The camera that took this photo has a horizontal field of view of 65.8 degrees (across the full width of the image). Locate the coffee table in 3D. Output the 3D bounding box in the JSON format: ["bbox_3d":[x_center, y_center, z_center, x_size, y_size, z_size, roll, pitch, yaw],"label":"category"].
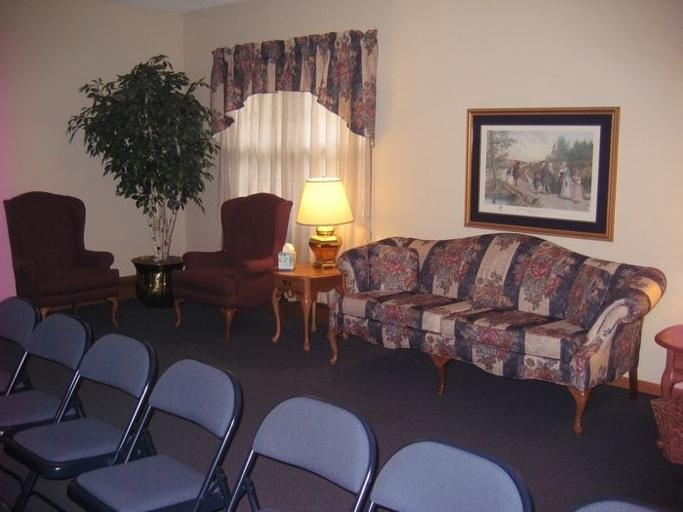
[{"bbox_3d":[-0.359,0.519,5.504,0.678,0.804,0.743,3,8,13],"label":"coffee table"}]

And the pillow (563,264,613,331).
[{"bbox_3d":[1.952,0.287,4.144,0.437,0.445,0.312,-6,12,-34],"label":"pillow"}]

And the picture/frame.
[{"bbox_3d":[1.829,-0.733,4.669,1.064,1.044,0.050,5,6,35],"label":"picture/frame"}]

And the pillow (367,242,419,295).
[{"bbox_3d":[0.491,0.135,4.942,0.383,0.461,0.188,4,-4,9],"label":"pillow"}]

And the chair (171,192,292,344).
[{"bbox_3d":[-1.226,0.057,5.943,1.083,1.614,1.111,4,2,28],"label":"chair"}]

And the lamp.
[{"bbox_3d":[-0.160,-0.321,5.499,0.530,0.943,0.551,2,11,14],"label":"lamp"}]
